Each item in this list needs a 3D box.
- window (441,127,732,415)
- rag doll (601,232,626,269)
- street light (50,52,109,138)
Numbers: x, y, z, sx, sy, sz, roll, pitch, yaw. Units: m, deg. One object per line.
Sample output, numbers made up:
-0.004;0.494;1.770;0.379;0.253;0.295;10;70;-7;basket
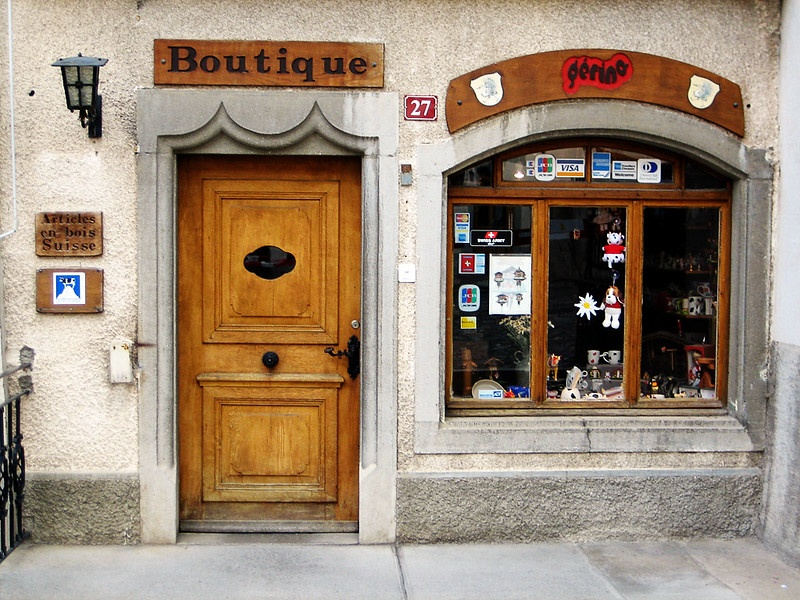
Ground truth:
1.431;-0.312;8.530;2.311;2.065;0.202;0;3;-4;window
1.740;-0.431;8.581;0.272;0.327;0.161;1;14;4;rag doll
-2.422;-1.558;8.009;0.392;0.673;0.362;2;13;3;street light
